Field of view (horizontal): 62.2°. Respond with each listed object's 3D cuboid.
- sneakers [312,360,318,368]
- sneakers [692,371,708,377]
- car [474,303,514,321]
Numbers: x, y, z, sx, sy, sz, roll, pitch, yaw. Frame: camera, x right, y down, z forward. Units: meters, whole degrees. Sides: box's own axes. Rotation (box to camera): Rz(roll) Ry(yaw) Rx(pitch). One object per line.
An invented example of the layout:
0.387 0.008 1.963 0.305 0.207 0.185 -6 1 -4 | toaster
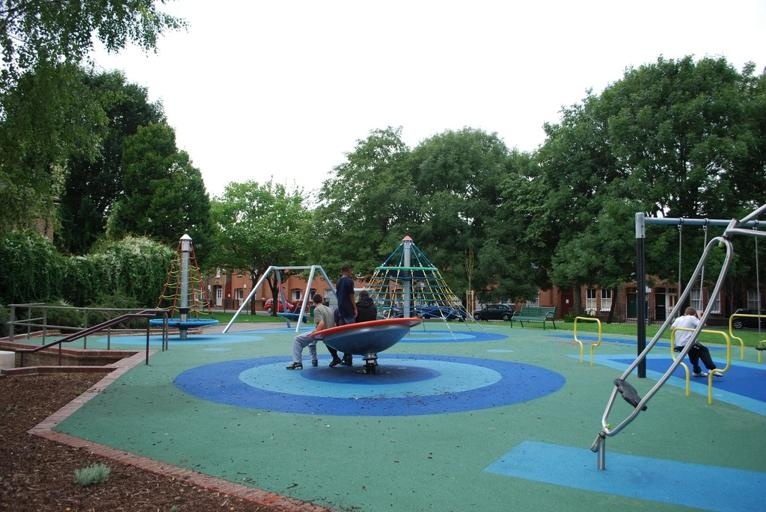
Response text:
-1.759 2.784 16.444 0.151 0.137 0.148 1 -7 -6 | sneakers
7.719 2.882 15.505 0.310 0.126 0.110 0 0 -4 | sneakers
7.514 3.789 43.171 2.183 0.940 1.245 2 -5 8 | car
